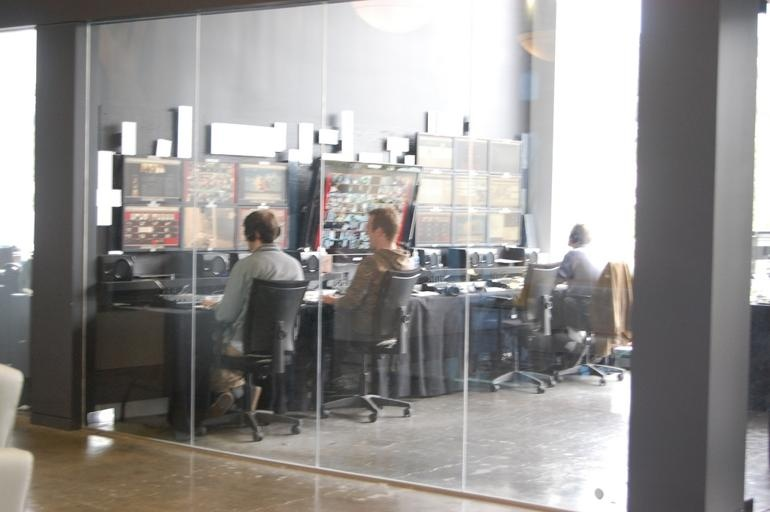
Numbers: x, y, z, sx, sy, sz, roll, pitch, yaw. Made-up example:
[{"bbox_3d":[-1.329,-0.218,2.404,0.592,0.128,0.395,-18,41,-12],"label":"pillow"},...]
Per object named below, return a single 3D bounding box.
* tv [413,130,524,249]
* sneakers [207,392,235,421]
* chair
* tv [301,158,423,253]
[{"bbox_3d":[0.580,-0.468,5.002,0.758,0.779,0.049,3,4,19],"label":"tv"},{"bbox_3d":[-1.262,1.155,5.479,0.131,0.256,0.060,50,18,11],"label":"sneakers"},{"bbox_3d":[1.417,0.472,4.919,0.620,0.692,0.504,12,-12,-42],"label":"chair"},{"bbox_3d":[-0.127,-0.379,5.172,0.772,0.561,0.229,7,-1,5],"label":"tv"}]
